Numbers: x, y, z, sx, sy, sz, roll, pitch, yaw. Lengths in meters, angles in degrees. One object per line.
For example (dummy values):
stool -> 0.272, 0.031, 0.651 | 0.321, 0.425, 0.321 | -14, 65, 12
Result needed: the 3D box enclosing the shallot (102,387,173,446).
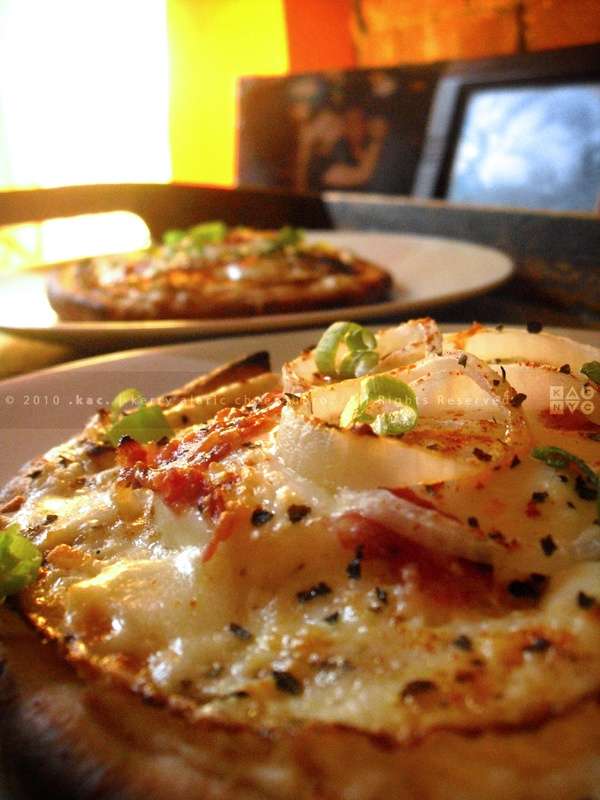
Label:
shallot -> -0.282, 0.028, 1.346 | 0.100, 0.049, 0.121 | -3, 25, -11
